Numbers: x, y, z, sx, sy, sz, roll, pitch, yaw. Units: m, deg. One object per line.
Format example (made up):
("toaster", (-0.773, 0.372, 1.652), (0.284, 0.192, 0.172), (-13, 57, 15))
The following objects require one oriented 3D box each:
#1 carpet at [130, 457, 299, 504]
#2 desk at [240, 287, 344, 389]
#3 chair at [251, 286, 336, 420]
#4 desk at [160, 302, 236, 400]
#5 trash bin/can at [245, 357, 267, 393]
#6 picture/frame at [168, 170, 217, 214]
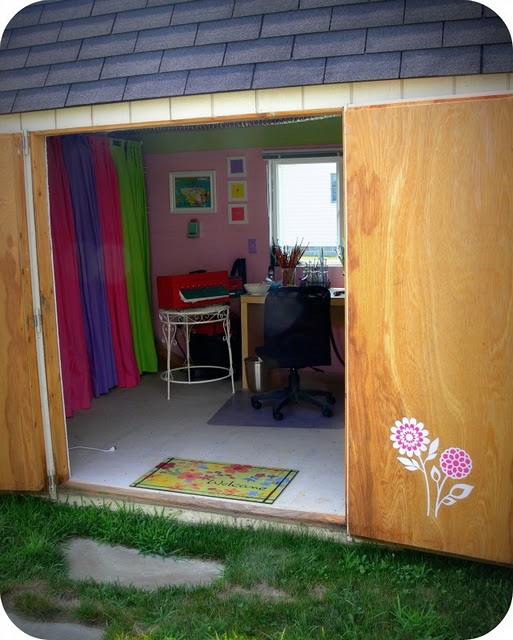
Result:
("carpet", (-0.227, 0.909, 3.305), (0.857, 0.032, 0.529), (2, 10, 21))
("desk", (0.289, 0.008, 5.541), (1.177, 1.093, 0.793), (1, 5, 8))
("chair", (0.284, 0.221, 4.524), (0.684, 1.042, 0.533), (-1, 10, 5))
("desk", (-0.500, 0.249, 5.274), (0.714, 0.768, 0.716), (-10, 8, -31))
("trash bin/can", (-0.001, 0.477, 5.121), (0.275, 0.315, 0.276), (-1, 3, -4))
("picture/frame", (-0.638, -1.356, 5.914), (0.462, 0.387, 0.020), (4, 14, 18))
